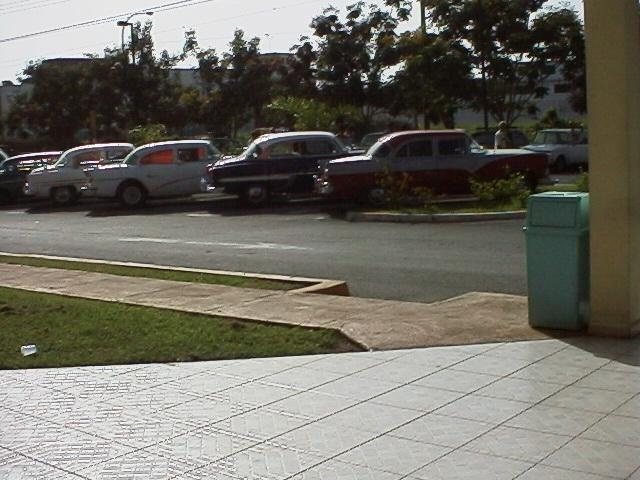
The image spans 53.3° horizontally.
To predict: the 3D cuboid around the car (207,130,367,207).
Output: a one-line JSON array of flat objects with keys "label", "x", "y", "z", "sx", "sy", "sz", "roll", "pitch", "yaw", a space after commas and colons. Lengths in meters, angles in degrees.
[{"label": "car", "x": -1.256, "y": -2.508, "z": 21.374, "sx": 4.828, "sy": 1.801, "sz": 2.073, "roll": -7, "pitch": 14, "yaw": -15}]
